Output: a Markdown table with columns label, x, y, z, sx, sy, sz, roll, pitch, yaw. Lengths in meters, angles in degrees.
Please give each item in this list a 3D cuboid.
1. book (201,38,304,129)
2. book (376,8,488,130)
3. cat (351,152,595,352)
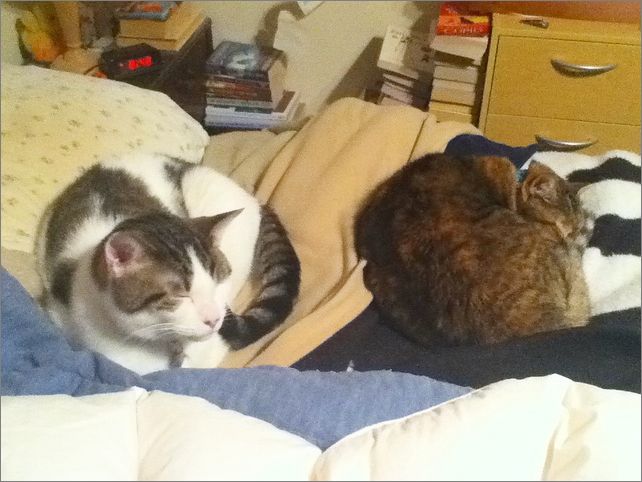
| label | x | y | z | sx | sy | sz | roll | pitch | yaw |
| --- | --- | --- | --- | --- | --- | --- | --- | --- | --- |
| book | -0.196 | -0.415 | 2.058 | 0.252 | 0.163 | 0.257 | 4 | 40 | 3 |
| book | 0.352 | -0.526 | 2.353 | 0.353 | 0.299 | 0.188 | 16 | 50 | 5 |
| cat | 0.331 | 0.017 | 1.705 | 0.519 | 0.207 | 0.401 | 7 | 50 | -3 |
